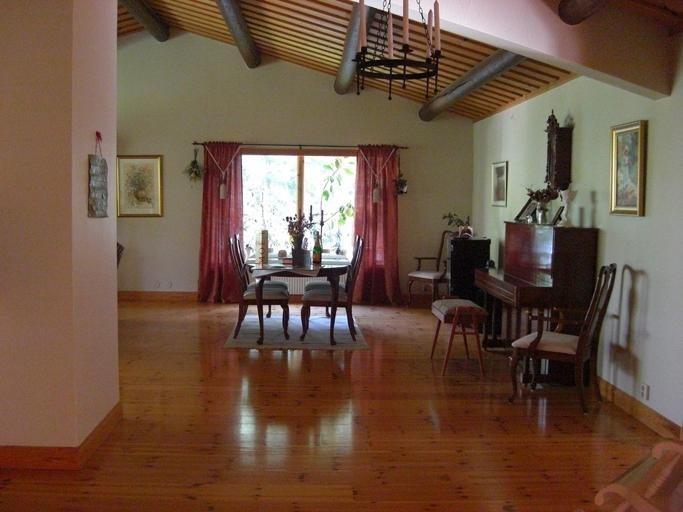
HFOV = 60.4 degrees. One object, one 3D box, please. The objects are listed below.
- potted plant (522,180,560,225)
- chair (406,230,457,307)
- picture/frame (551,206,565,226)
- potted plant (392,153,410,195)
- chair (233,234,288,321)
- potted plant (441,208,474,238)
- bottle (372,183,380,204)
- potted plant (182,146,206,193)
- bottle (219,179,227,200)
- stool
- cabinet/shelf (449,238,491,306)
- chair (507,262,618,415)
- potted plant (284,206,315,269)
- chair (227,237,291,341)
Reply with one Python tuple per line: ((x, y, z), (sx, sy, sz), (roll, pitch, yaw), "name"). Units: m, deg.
((2.084, -0.541, 6.000), (0.389, 0.504, 0.381), (3, 5, 30), "potted plant")
((1.333, 0.152, 8.499), (0.581, 1.118, 0.667), (5, 3, 41), "chair")
((2.161, -0.420, 5.850), (0.115, 0.178, 0.456), (4, 11, 20), "picture/frame")
((0.902, -1.230, 8.818), (0.204, 0.651, 0.310), (2, 10, 12), "potted plant")
((-0.964, 0.296, 7.024), (0.756, 1.130, 0.757), (-5, 10, -16), "chair")
((1.720, -0.441, 8.525), (0.445, 0.300, 1.120), (1, 11, 6), "potted plant")
((0.523, -0.932, 8.767), (0.125, 0.297, 0.201), (2, 10, 12), "bottle")
((-2.177, -1.388, 8.776), (0.260, 0.425, 0.281), (7, 7, 33), "potted plant")
((-1.756, -0.971, 8.697), (0.095, 0.264, 0.167), (0, 10, 3), "bottle")
((1.235, 0.809, 6.233), (0.418, 0.686, 0.817), (1, 3, 3), "stool")
((1.653, 0.171, 7.594), (0.500, 0.791, 0.295), (2, 10, 11), "cabinet/shelf")
((1.925, 0.648, 5.119), (0.877, 1.231, 0.605), (1, 10, 7), "chair")
((-0.487, -0.233, 6.989), (0.304, 0.602, 0.785), (-1, 10, -4), "potted plant")
((-1.010, 0.183, 7.230), (0.625, 0.918, 0.676), (-10, 6, 16), "chair")
